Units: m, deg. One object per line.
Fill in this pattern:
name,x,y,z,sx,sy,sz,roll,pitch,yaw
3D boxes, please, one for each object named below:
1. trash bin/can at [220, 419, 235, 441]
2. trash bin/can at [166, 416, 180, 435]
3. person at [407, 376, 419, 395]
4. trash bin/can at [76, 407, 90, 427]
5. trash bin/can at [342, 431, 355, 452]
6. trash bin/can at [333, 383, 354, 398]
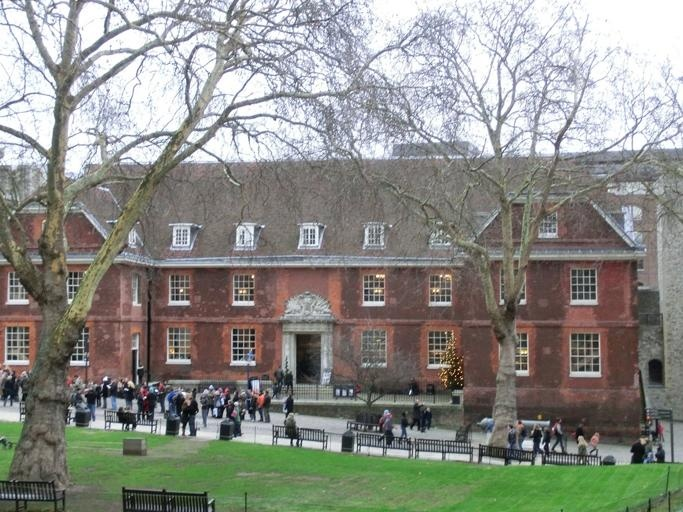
trash bin/can,-4.870,7.503,56.925,0.670,1.208,0.683,2,-1,6
trash bin/can,-7.264,7.331,57.209,0.673,1.209,0.676,1,5,-6
person,3.878,6.910,69.734,0.607,0.992,1.478,-1,-11,3
trash bin/can,-11.434,7.145,58.687,0.623,0.837,0.671,3,-11,-16
trash bin/can,0.330,7.879,55.900,0.671,1.149,0.684,1,-6,1
trash bin/can,0.220,7.002,68.727,1.077,0.727,0.456,1,-11,-9
